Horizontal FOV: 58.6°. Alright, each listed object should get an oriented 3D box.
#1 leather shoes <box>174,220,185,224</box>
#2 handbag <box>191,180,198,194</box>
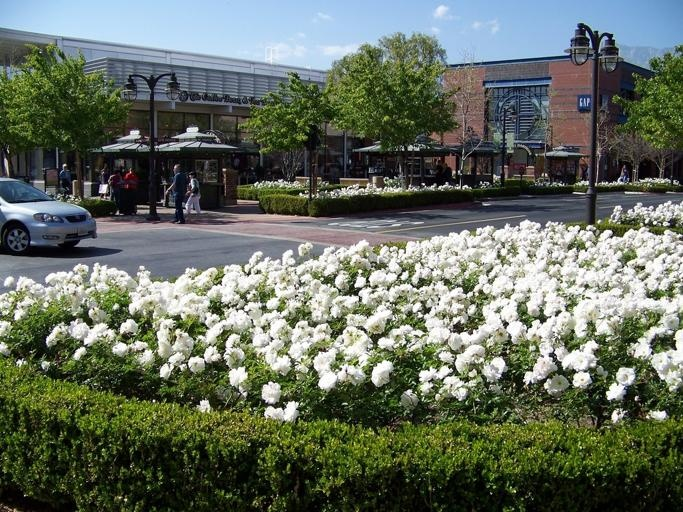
[{"bbox_3d":[-5.924,-1.227,21.997,0.153,0.196,0.447,-1,1,-43],"label":"leather shoes"},{"bbox_3d":[-5.736,-2.703,23.590,0.228,0.544,0.167,-2,6,-18],"label":"handbag"}]
